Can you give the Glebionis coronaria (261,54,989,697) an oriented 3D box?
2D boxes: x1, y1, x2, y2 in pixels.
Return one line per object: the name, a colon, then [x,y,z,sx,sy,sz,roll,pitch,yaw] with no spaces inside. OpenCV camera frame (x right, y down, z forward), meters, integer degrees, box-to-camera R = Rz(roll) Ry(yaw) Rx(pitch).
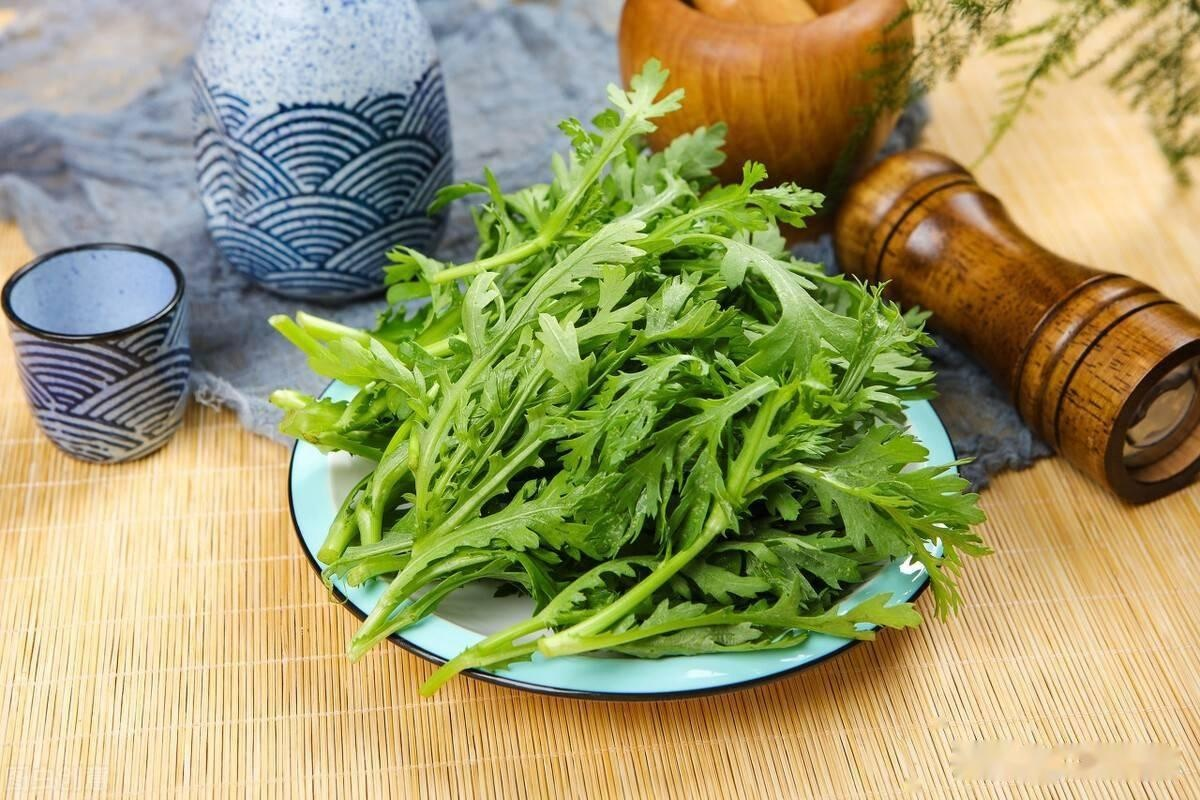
Glebionis coronaria: [0.037,0.018,0.933,0.576,0.295,0.559,13,61,5]
